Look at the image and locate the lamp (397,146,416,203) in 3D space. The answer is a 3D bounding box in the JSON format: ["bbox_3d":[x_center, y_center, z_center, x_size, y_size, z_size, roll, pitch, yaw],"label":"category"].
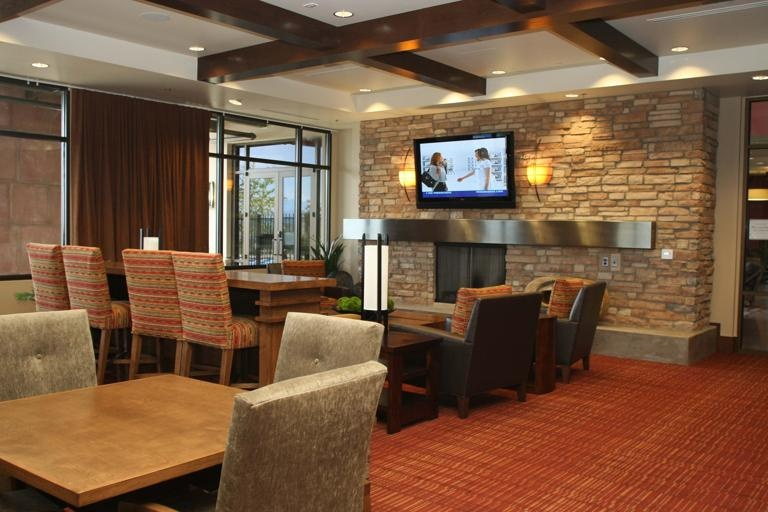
[{"bbox_3d":[0.419,-1.453,9.167,0.402,0.903,0.333,-13,15,-43],"label":"lamp"}]

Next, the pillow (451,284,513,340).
[{"bbox_3d":[0.897,0.527,4.614,0.532,0.412,0.171,-10,26,-35],"label":"pillow"}]

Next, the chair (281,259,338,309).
[{"bbox_3d":[-1.159,0.432,7.224,0.758,0.685,0.724,1,6,-42],"label":"chair"}]

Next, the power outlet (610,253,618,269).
[{"bbox_3d":[3.328,0.088,7.337,0.115,0.219,0.025,7,9,40],"label":"power outlet"}]

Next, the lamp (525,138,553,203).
[{"bbox_3d":[2.399,-1.325,7.870,0.363,0.931,0.139,8,9,41],"label":"lamp"}]

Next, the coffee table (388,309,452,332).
[{"bbox_3d":[0.363,0.704,5.510,0.495,0.091,0.445,1,1,44],"label":"coffee table"}]

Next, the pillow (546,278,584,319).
[{"bbox_3d":[2.055,0.498,5.735,0.542,0.526,0.212,0,15,-29],"label":"pillow"}]
